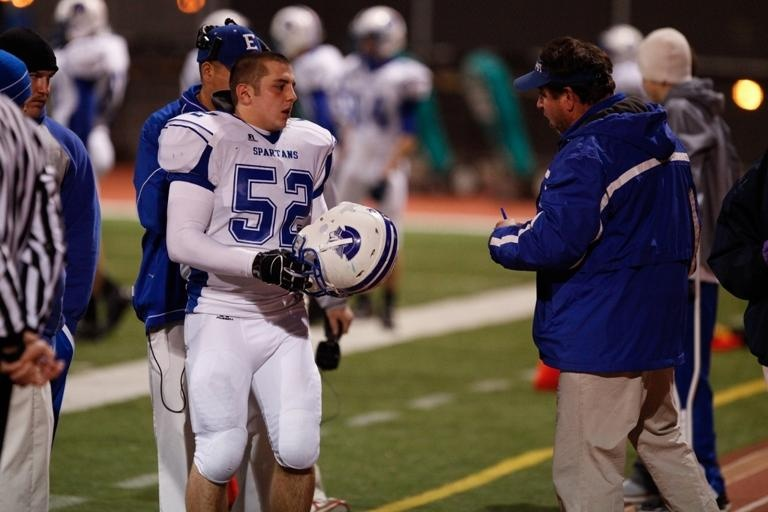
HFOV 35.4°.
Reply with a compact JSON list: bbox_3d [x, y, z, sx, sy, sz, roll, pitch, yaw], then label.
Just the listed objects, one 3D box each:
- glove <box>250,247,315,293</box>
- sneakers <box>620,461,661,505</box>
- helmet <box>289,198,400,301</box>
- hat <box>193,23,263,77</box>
[{"bbox_3d":[-0.476,0.069,5.697,0.236,0.117,0.185,8,-20,35],"label":"glove"},{"bbox_3d":[1.485,1.295,6.938,0.209,0.202,0.233,-1,12,-7],"label":"sneakers"},{"bbox_3d":[-0.162,0.009,5.920,0.481,0.438,0.381,-12,-19,28],"label":"helmet"},{"bbox_3d":[-0.791,-1.051,6.124,0.313,0.190,0.208,-7,30,-1],"label":"hat"}]
